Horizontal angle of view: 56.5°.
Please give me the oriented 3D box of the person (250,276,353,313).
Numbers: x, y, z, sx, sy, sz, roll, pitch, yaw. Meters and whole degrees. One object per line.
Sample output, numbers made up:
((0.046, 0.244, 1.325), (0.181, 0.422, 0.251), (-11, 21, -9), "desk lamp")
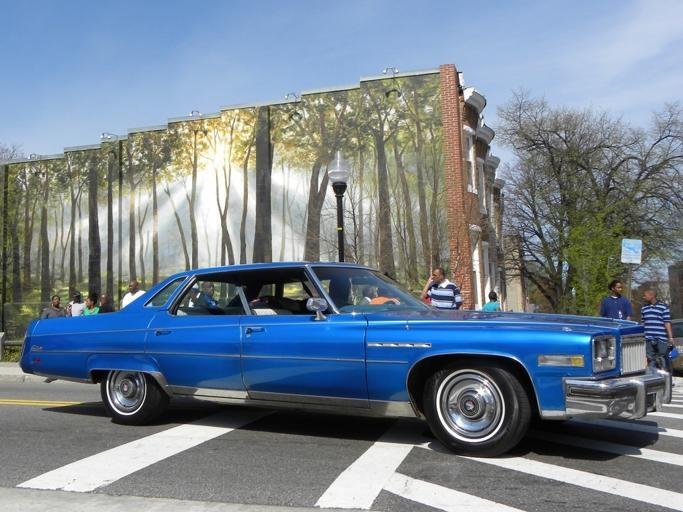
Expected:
((-0.634, 0.484, 7.873), (0.870, 0.383, 0.514), (-4, -7, 24), "person")

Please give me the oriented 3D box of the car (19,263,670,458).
((-0.515, 1.071, 7.795), (8.205, 2.005, 1.273), (-1, 2, 23), "car")
